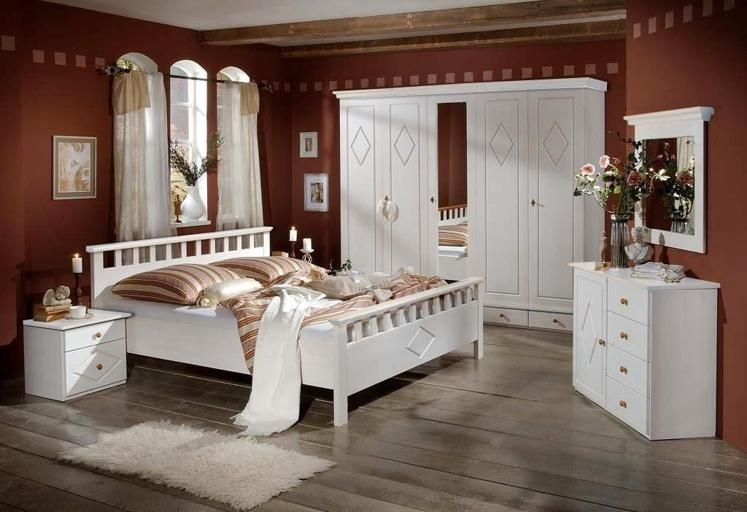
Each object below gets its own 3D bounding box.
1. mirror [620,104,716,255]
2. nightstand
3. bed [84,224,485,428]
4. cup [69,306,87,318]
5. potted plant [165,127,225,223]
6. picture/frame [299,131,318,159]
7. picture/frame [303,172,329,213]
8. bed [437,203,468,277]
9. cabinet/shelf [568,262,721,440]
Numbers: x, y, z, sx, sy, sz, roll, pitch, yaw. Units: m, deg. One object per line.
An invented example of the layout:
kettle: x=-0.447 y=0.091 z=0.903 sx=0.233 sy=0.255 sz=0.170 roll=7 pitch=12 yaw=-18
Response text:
mirror: x=2.288 y=-0.569 z=4.311 sx=0.149 sy=1.091 sz=1.140 roll=-4 pitch=7 yaw=-16
nightstand: x=-2.540 y=0.743 z=5.052 sx=0.664 sy=0.838 sz=0.891 roll=0 pitch=2 yaw=28
bed: x=-1.022 y=0.568 z=5.098 sx=2.459 sy=0.994 sz=2.072 roll=7 pitch=13 yaw=35
cup: x=-2.551 y=0.476 z=4.853 sx=0.081 sy=0.058 sz=0.120 roll=-1 pitch=-2 yaw=7
potted plant: x=-2.045 y=-0.941 z=6.547 sx=0.624 sy=1.069 sz=0.598 roll=-3 pitch=10 yaw=-15
picture/frame: x=-0.899 y=-1.566 z=7.846 sx=0.369 sy=0.455 sz=0.048 roll=5 pitch=9 yaw=23
picture/frame: x=-0.790 y=-0.905 z=7.842 sx=0.565 sy=0.769 sz=0.057 roll=1 pitch=2 yaw=20
bed: x=0.981 y=-0.180 z=6.842 sx=0.552 sy=0.749 sz=0.357 roll=4 pitch=-2 yaw=15
cabinet/shelf: x=2.025 y=0.705 z=4.094 sx=0.479 sy=1.050 sz=1.220 roll=0 pitch=2 yaw=-7
